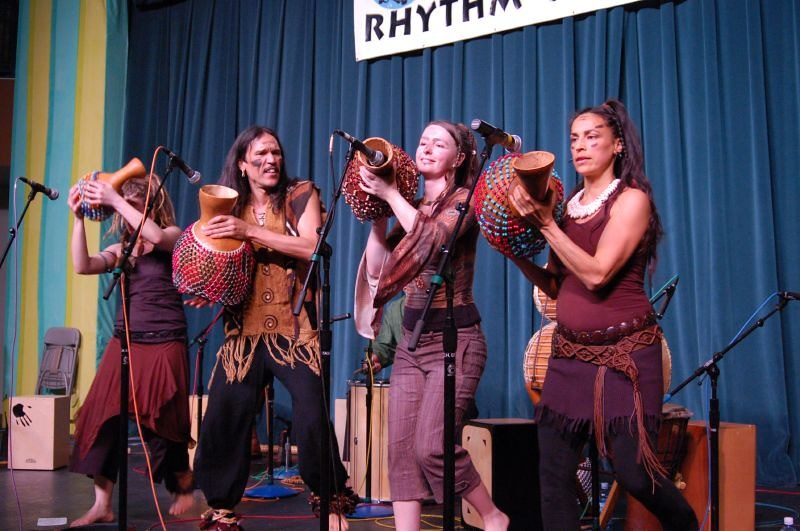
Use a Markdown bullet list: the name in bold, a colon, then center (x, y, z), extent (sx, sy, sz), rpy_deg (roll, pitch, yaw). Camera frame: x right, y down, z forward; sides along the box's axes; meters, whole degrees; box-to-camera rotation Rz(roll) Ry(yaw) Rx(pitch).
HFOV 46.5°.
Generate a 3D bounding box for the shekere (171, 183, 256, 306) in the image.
- **shekere**: center (-1.226, -0.151, 6.160), extent (0.537, 0.805, 0.288), rpy_deg (2, -3, -18)

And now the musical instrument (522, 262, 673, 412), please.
- **musical instrument**: center (1.408, 0.580, 7.008), extent (0.857, 1.109, 0.969), rpy_deg (1, -4, -12)

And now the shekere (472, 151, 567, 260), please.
- **shekere**: center (0.671, -0.333, 5.634), extent (0.525, 0.613, 0.303), rpy_deg (33, -4, -29)

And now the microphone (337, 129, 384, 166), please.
- **microphone**: center (-0.242, -0.741, 5.742), extent (0.323, 0.240, 0.197), rpy_deg (-1, -3, 25)

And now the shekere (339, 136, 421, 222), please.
- **shekere**: center (-0.105, -0.470, 5.877), extent (0.392, 0.536, 0.498), rpy_deg (-11, -8, 12)

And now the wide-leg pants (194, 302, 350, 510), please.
- **wide-leg pants**: center (-0.909, 1.035, 6.731), extent (1.077, 1.675, 0.585), rpy_deg (1, -10, -4)
